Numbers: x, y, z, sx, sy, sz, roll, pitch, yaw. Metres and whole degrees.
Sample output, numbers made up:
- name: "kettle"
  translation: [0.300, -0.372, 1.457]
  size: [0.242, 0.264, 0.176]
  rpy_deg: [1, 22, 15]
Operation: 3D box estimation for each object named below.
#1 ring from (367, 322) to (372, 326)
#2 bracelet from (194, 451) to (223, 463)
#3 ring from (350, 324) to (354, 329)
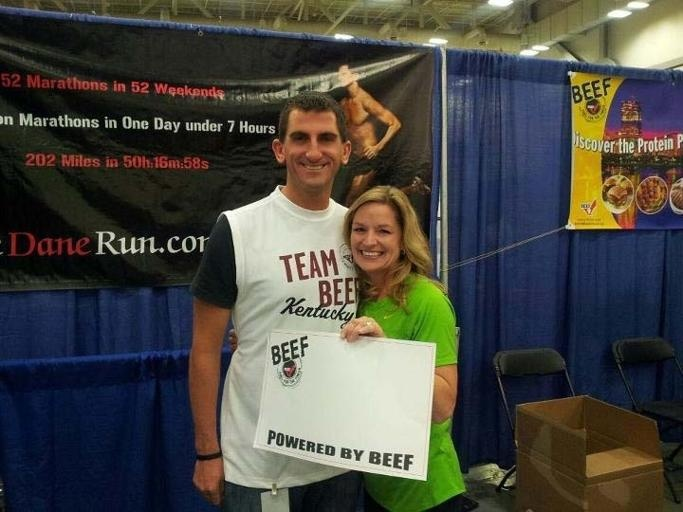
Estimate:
- name: "ring"
  translation: [0.130, 0.323, 3.278]
  size: [0.020, 0.016, 0.006]
  rpy_deg: [8, -3, 14]
- name: "bracelet"
  translation: [-0.643, 0.970, 3.318]
  size: [0.120, 0.044, 0.033]
  rpy_deg: [-2, -6, -4]
- name: "ring"
  translation: [0.052, 0.336, 3.270]
  size: [0.026, 0.020, 0.006]
  rpy_deg: [-4, -6, 11]
